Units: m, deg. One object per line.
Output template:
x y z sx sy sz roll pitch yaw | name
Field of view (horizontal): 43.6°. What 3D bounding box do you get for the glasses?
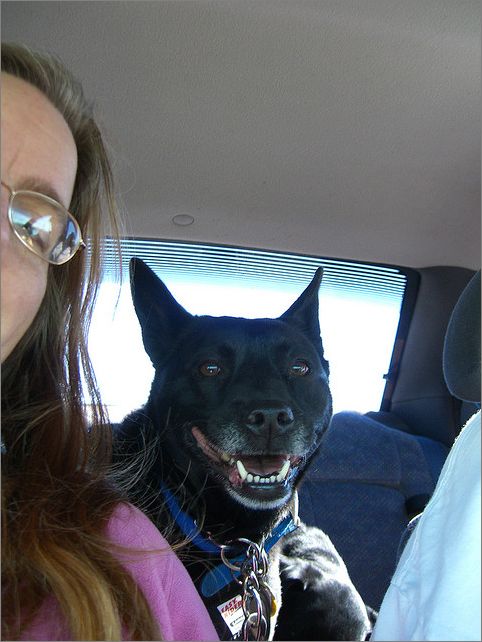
-0.321 -0.151 0.982 0.109 0.038 0.102 21 -6 46 | glasses
